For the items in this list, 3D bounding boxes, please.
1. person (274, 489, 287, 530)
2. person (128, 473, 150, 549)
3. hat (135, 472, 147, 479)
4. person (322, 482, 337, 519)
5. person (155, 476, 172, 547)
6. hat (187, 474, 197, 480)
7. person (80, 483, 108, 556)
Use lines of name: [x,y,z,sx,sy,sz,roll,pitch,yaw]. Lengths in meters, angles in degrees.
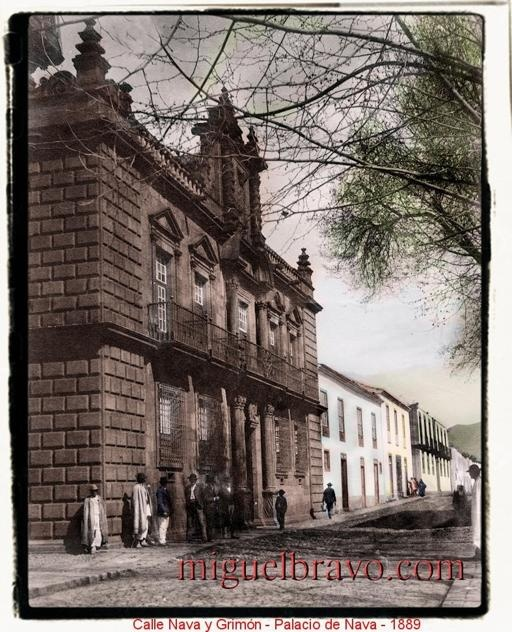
person: [0.703,5.604,20.428,0.295,1.092,1.010,-3,-13,1]
person: [-2.180,3.734,13.560,0.394,1.361,0.462,1,-12,-18]
hat: [-2.248,3.124,13.809,0.144,0.153,0.218,1,-5,-6]
person: [2.423,6.118,23.377,0.447,1.108,1.582,-4,-14,5]
person: [-1.884,3.993,14.324,0.307,1.469,0.570,-8,-28,1]
hat: [-1.439,3.630,15.915,0.195,0.117,0.255,3,-6,-6]
person: [-2.871,3.610,12.609,0.303,1.179,0.591,-6,-12,15]
